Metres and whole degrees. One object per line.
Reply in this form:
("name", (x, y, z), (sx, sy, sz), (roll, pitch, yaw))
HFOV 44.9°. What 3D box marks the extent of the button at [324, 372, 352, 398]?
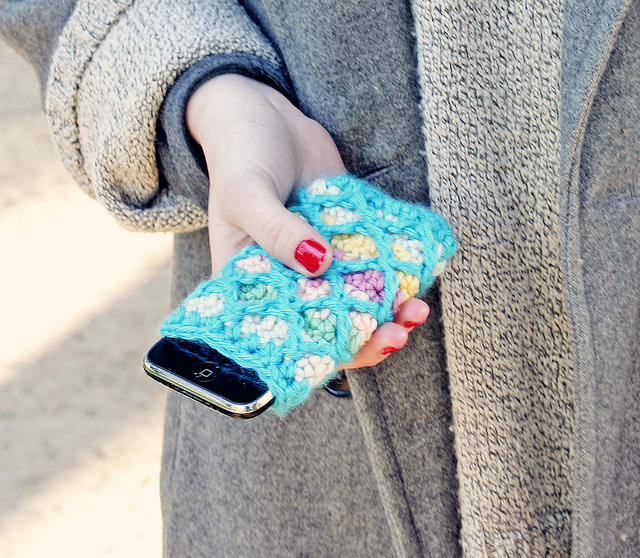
("button", (0.029, 0.166, 1.189), (0.034, 0.041, 0.014), (-8, 33, 0))
